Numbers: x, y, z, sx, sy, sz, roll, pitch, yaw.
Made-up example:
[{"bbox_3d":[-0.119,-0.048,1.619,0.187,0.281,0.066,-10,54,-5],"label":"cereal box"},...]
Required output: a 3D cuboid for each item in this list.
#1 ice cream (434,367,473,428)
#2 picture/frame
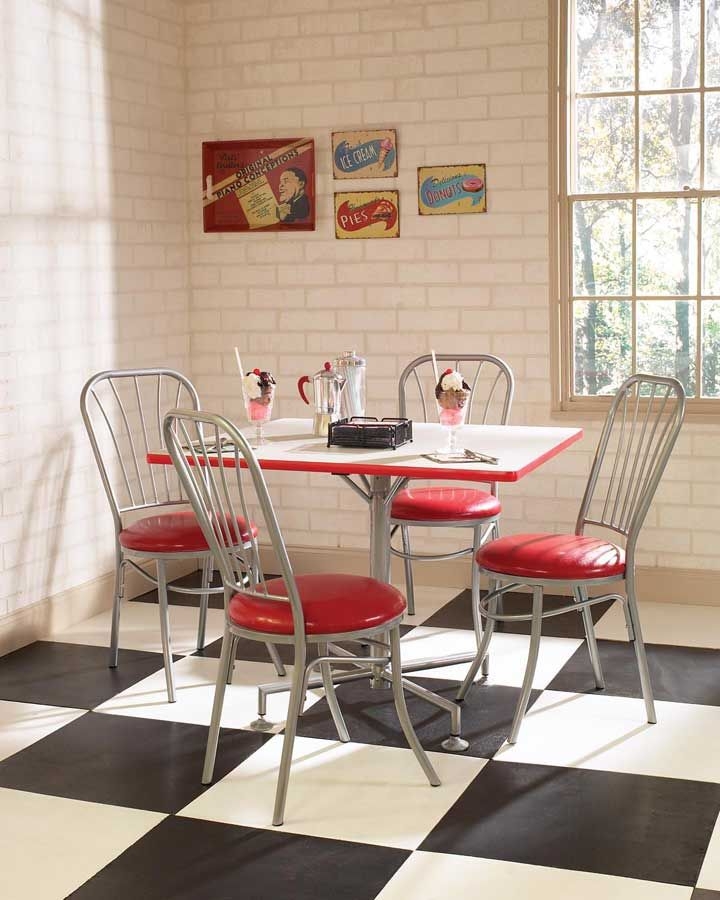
[{"bbox_3d":[0.259,-0.153,2.469,0.116,0.181,0.100,18,58,15],"label":"ice cream"},{"bbox_3d":[-0.449,-1.236,3.959,0.555,0.337,0.070,2,6,18],"label":"picture/frame"}]
